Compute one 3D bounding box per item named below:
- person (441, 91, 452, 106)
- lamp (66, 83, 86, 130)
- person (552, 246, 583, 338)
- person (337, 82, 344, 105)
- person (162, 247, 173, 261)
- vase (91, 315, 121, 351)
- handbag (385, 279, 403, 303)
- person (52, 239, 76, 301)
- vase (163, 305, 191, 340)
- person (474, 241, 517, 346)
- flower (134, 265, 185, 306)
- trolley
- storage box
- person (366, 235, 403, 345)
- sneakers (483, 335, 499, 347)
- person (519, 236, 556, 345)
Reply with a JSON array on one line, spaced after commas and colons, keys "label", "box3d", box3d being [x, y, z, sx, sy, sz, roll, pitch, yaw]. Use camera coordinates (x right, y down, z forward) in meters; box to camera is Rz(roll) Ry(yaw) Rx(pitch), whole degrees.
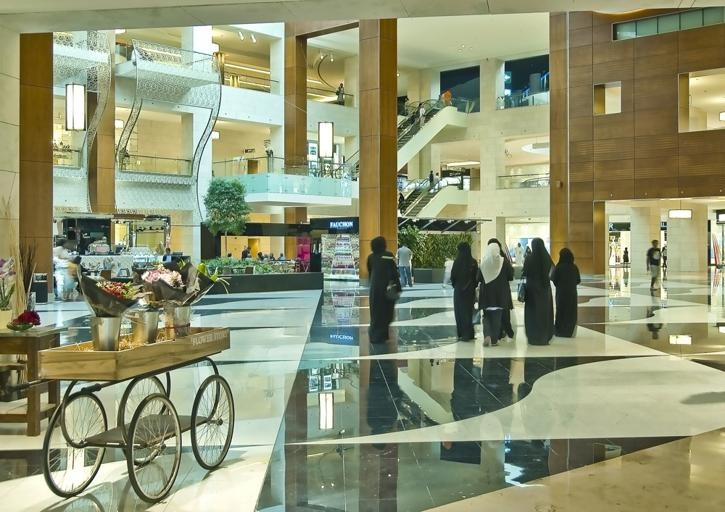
[{"label": "person", "box3d": [4.308, -8.182, 36.796, 0.384, 0.770, 0.920, 2, 7, 22]}, {"label": "lamp", "box3d": [-8.036, -4.184, 19.825, 0.518, 1.224, 0.357, -4, 7, -21]}, {"label": "person", "box3d": [3.708, 0.795, 13.021, 0.450, 1.336, 0.454, 1, 7, 20]}, {"label": "person", "box3d": [-1.114, -8.029, 35.324, 0.390, 1.034, 1.241, -1, 7, -1]}, {"label": "person", "box3d": [-5.953, -0.099, 21.536, 0.250, 0.287, 1.096, -3, 7, -15]}, {"label": "vase", "box3d": [-2.462, 0.741, 6.796, 0.309, 0.335, 0.318, -4, -9, 26]}, {"label": "handbag", "box3d": [0.533, 0.633, 12.575, 0.266, 0.382, 0.197, -1, 7, -3]}, {"label": "person", "box3d": [-7.966, 0.429, 18.905, 0.517, 1.492, 1.216, -4, 8, -24]}, {"label": "vase", "box3d": [-1.877, 0.668, 7.410, 0.319, 0.346, 0.311, 1, -4, 1]}, {"label": "person", "box3d": [2.307, 0.629, 12.374, 0.582, 1.816, 0.797, 3, 8, 29]}, {"label": "flower", "box3d": [-2.070, 0.295, 7.216, 0.393, 0.335, 0.411, -3, -2, 26]}, {"label": "trolley", "box3d": [-2.386, 1.593, 7.484, 1.548, 1.741, 2.660, -1, 0, 18]}, {"label": "storage box", "box3d": [-2.225, 0.993, 7.065, 1.738, 0.301, 0.554, -6, 9, -38]}, {"label": "person", "box3d": [0.377, 0.592, 12.647, 0.579, 1.816, 0.930, -1, 7, -1]}, {"label": "sneakers", "box3d": [2.223, 1.458, 12.215, 0.351, 0.240, 0.118, -3, -1, 14]}, {"label": "person", "box3d": [3.063, 0.606, 12.321, 0.560, 1.787, 0.616, -2, 7, -6]}]
